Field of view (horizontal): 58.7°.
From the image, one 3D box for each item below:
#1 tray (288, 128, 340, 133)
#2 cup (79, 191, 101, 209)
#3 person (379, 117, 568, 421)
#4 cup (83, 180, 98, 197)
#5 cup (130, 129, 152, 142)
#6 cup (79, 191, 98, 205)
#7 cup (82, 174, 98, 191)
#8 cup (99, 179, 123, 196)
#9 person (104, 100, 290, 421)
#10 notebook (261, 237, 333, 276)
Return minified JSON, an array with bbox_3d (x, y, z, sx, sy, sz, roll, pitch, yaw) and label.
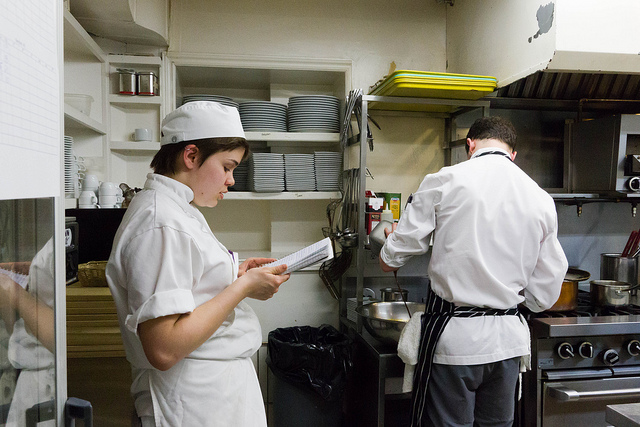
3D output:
[{"bbox_3d":[-0.039,-0.506,3.466,0.287,0.032,0.064,1,2,0],"label":"tray"},{"bbox_3d":[-1.257,-0.074,3.085,0.098,0.095,0.076,0,2,-13],"label":"cup"},{"bbox_3d":[0.742,0.263,2.749,0.836,1.472,0.366,0,2,-9],"label":"person"},{"bbox_3d":[-1.262,-0.154,3.115,0.063,0.090,0.058,0,3,0],"label":"cup"},{"bbox_3d":[-1.075,-0.469,3.391,0.118,0.076,0.085,-1,3,-7],"label":"cup"},{"bbox_3d":[-1.254,-0.082,3.079,0.086,0.068,0.055,0,4,-7],"label":"cup"},{"bbox_3d":[-1.263,-0.171,3.114,0.087,0.080,0.084,1,-1,0],"label":"cup"},{"bbox_3d":[-1.194,-0.150,3.210,0.088,0.104,0.149,-2,-5,16],"label":"cup"},{"bbox_3d":[-0.438,0.189,2.127,0.681,1.220,0.305,0,2,-20],"label":"person"},{"bbox_3d":[-0.092,0.175,2.378,0.267,0.128,0.320,1,2,-3],"label":"notebook"}]
